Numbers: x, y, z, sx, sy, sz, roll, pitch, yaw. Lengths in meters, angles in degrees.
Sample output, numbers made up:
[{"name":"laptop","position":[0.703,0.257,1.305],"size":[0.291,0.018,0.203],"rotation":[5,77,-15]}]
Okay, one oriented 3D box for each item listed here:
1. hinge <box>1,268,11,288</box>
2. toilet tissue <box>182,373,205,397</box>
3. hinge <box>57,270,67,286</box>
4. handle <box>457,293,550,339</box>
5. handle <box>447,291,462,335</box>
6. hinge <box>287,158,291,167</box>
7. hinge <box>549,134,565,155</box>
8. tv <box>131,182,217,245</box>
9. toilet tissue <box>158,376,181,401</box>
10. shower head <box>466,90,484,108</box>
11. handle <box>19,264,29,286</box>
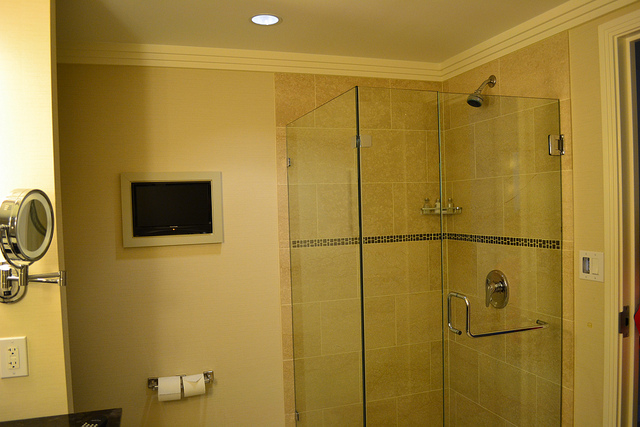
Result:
[{"name":"hinge","position":[-1.553,0.321,2.569],"size":[0.042,0.106,0.037],"rotation":[-3,1,-33]},{"name":"toilet tissue","position":[-0.834,1.143,3.442],"size":[0.130,0.128,0.133],"rotation":[1,-12,-16]},{"name":"hinge","position":[-1.333,0.334,2.678],"size":[0.042,0.083,0.151],"rotation":[-3,1,-30]},{"name":"handle","position":[1.041,0.590,3.105],"size":[0.686,0.316,0.221],"rotation":[-1,-6,-20]},{"name":"handle","position":[0.731,0.551,2.839],"size":[0.084,0.236,0.014],"rotation":[-3,1,-22]},{"name":"hinge","position":[-0.216,-0.356,3.593],"size":[0.003,0.049,0.069],"rotation":[-3,1,-20]},{"name":"hinge","position":[1.393,-0.408,3.070],"size":[0.107,0.117,0.031],"rotation":[0,3,2]},{"name":"tv","position":[-0.995,-0.001,3.440],"size":[0.420,0.298,0.018],"rotation":[-2,-2,-19]},{"name":"toilet tissue","position":[-0.991,1.152,3.408],"size":[0.146,0.146,0.151],"rotation":[2,-11,-16]},{"name":"shower head","position":[0.868,-0.645,2.885],"size":[0.072,0.111,0.160],"rotation":[-2,1,31]},{"name":"handle","position":[-1.462,0.304,2.567],"size":[0.044,0.114,0.105],"rotation":[-3,1,-30]}]
